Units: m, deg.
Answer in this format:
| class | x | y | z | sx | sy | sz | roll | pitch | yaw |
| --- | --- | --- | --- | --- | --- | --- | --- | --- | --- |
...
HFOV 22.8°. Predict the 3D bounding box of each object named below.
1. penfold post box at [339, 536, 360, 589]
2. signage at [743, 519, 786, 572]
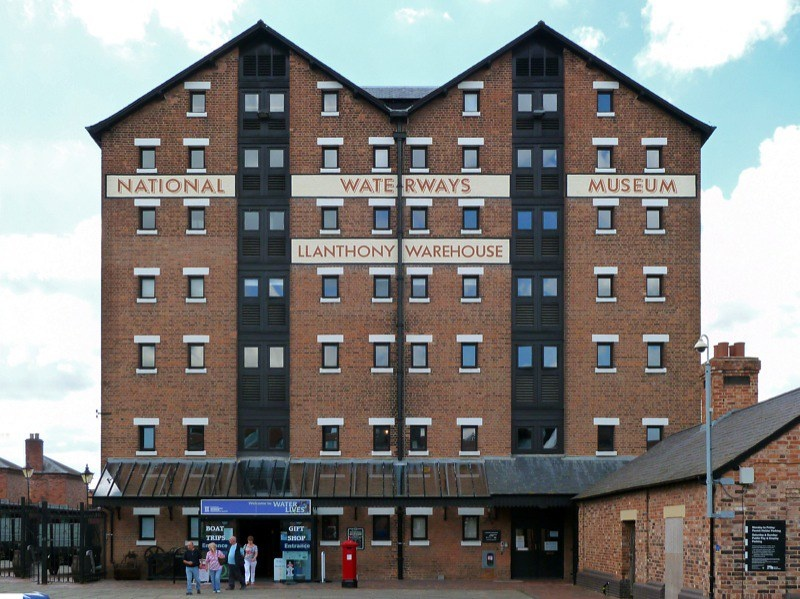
| class | x | y | z | sx | sy | sz | roll | pitch | yaw |
| --- | --- | --- | --- | --- | --- | --- | --- | --- | --- |
| penfold post box | -2.469 | 12.501 | 94.709 | 0.708 | 2.160 | 1.295 | 1 | -13 | -2 |
| signage | 15.336 | 10.385 | 83.703 | 1.889 | 2.374 | 0.230 | 1 | -10 | 0 |
